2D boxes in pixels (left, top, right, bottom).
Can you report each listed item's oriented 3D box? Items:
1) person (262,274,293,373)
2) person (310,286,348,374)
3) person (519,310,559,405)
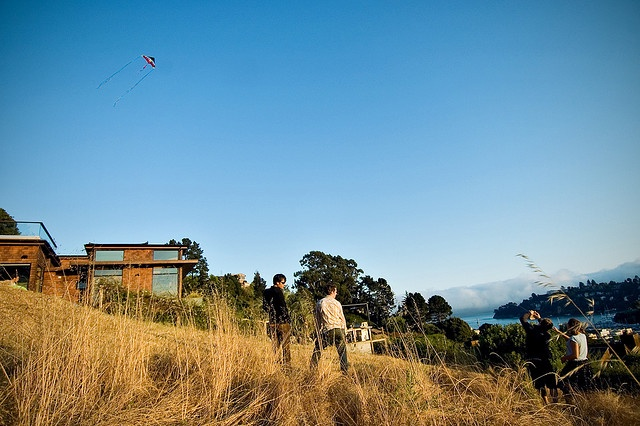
[{"bbox_3d":[-0.883,2.203,7.751,0.565,1.869,0.785,-4,-23,-9],"label":"person"},{"bbox_3d":[0.162,2.470,7.665,0.774,1.568,0.689,-8,-22,0],"label":"person"},{"bbox_3d":[4.139,2.591,6.947,0.633,1.529,1.333,-19,-25,24],"label":"person"}]
